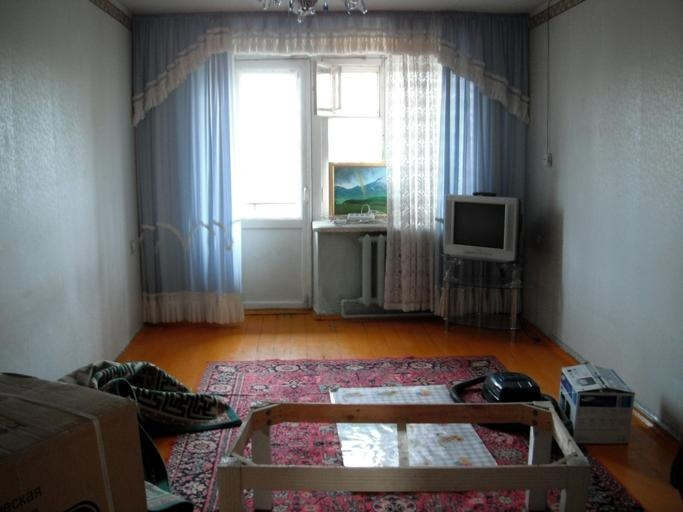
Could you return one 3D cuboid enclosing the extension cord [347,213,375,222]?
[{"bbox_3d":[0.203,-0.387,5.242,0.282,0.070,0.150,-1,12,-2],"label":"extension cord"}]

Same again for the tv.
[{"bbox_3d":[1.227,-0.227,4.775,0.844,0.839,0.476,4,8,30],"label":"tv"}]

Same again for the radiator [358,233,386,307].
[{"bbox_3d":[0.308,0.142,5.157,0.254,0.722,0.190,0,10,2],"label":"radiator"}]

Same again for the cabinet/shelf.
[{"bbox_3d":[1.276,0.331,4.866,0.742,0.717,0.715,4,12,21],"label":"cabinet/shelf"}]
